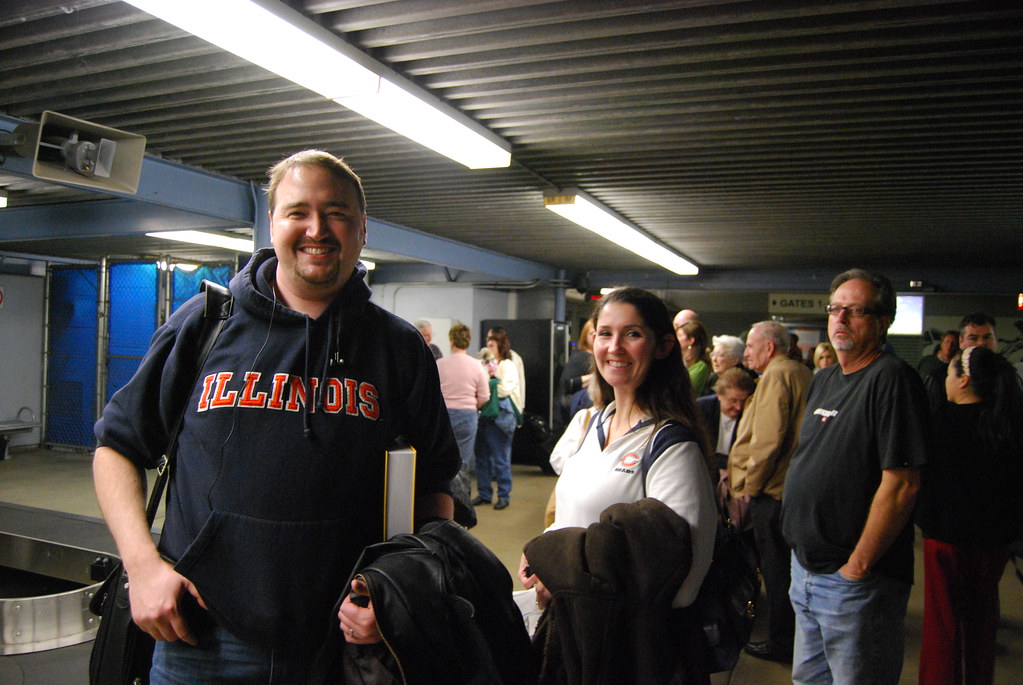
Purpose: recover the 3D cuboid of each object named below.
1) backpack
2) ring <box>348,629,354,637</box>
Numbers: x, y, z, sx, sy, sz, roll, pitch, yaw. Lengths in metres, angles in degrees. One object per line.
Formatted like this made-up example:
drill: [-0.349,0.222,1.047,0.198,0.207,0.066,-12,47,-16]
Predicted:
backpack: [0.690,0.712,2.671,0.466,0.856,0.469,7,9,1]
ring: [-0.546,0.967,2.355,0.016,0.013,0.004,4,-9,24]
